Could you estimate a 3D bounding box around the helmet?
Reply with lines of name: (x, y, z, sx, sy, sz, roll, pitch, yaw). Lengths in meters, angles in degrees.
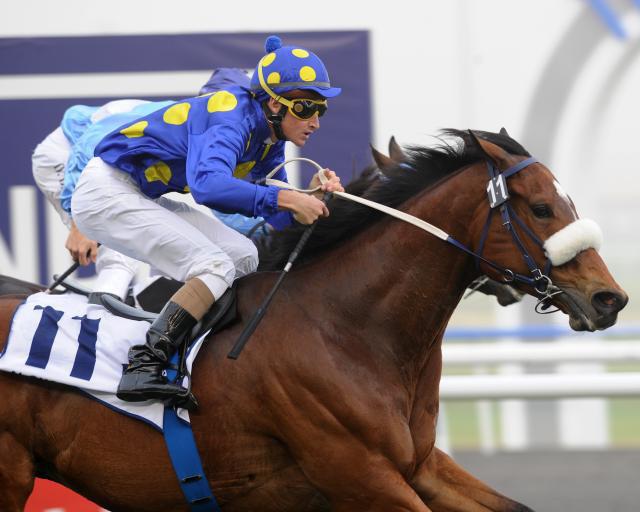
helmet: (-0.078, -0.691, 4.180, 0.356, 0.174, 0.253, 19, 31, 29)
